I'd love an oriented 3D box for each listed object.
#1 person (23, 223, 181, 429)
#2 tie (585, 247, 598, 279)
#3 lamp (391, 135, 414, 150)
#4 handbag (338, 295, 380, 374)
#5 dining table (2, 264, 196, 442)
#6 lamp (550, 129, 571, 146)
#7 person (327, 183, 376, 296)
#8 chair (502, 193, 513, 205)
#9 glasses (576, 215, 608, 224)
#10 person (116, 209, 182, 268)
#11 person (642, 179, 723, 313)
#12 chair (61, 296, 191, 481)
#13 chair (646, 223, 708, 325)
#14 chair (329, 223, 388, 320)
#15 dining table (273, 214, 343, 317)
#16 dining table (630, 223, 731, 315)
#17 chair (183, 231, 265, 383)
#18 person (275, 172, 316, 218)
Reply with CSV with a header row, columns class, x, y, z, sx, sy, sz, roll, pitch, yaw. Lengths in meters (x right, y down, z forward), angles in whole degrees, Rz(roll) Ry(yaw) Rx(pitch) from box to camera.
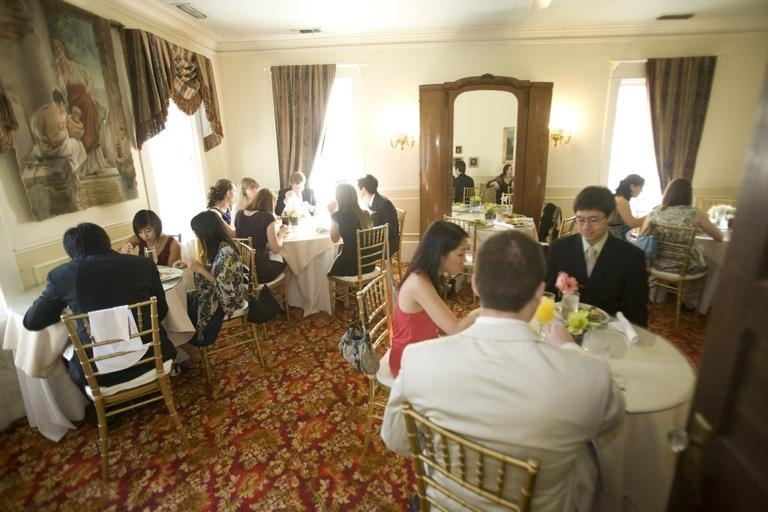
class,x,y,z,sx,sy,sz,roll,pitch,yaw
person,-2.374,0.622,4.157,1.078,1.775,0.474,-3,18,-6
tie,1.753,0.057,4.234,0.071,0.273,0.069,14,-2,0
lamp,0.294,-1.732,7.506,0.352,0.227,0.089,-2,18,-2
handbag,-0.203,0.635,3.894,0.207,0.507,0.429,-14,23,-41
dining table,-2.486,0.922,4.734,1.392,1.394,1.366,6,20,16
lamp,2.630,-1.767,7.366,0.307,0.241,0.110,4,18,17
person,-0.374,-0.291,5.683,0.522,1.065,0.456,1,18,8
chair,1.800,-0.833,7.244,0.157,0.176,0.156,-2,10,0
glasses,1.708,-0.303,4.084,0.214,0.072,0.068,5,18,21
person,-2.446,-0.008,5.179,0.605,0.941,0.540,-2,11,-22
person,3.290,-0.319,5.468,0.788,1.021,0.553,7,19,25
chair,-2.222,1.147,4.190,0.832,1.623,0.931,-11,37,-26
chair,3.292,0.172,5.535,0.681,1.103,0.603,-30,34,-32
chair,-0.296,0.160,5.894,0.612,1.064,0.572,11,20,43
dining table,-0.805,0.066,6.164,0.892,0.935,0.944,5,31,14
dining table,3.323,0.108,5.708,0.692,1.075,0.615,-18,25,-32
chair,-1.597,0.524,5.223,0.707,1.143,0.662,-6,-6,-4
person,-1.248,-0.870,7.073,0.451,0.962,0.414,-19,44,-24
